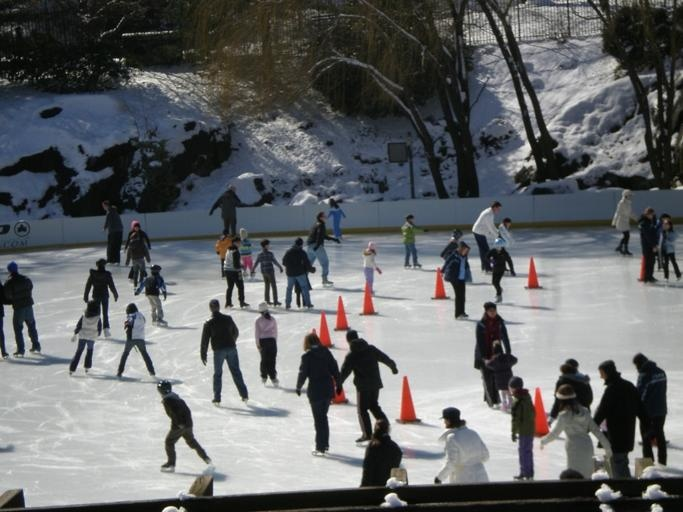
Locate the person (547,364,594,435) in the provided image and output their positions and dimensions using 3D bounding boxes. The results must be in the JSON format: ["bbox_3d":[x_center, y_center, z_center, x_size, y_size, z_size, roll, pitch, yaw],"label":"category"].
[{"bbox_3d":[6.336,3.896,36.476,0.885,1.764,1.021,-11,9,-12],"label":"person"}]

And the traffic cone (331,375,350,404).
[{"bbox_3d":[-0.040,3.845,38.522,0.654,0.913,0.683,2,31,6],"label":"traffic cone"}]

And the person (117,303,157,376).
[{"bbox_3d":[-6.218,2.329,40.629,0.979,2.466,0.807,-5,8,-43],"label":"person"}]

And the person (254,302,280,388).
[{"bbox_3d":[-2.239,2.622,40.195,0.691,2.561,0.567,-3,5,-12],"label":"person"}]

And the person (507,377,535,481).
[{"bbox_3d":[4.922,4.717,36.514,0.699,2.798,0.964,0,2,27],"label":"person"}]

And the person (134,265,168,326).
[{"bbox_3d":[-6.151,1.188,43.760,0.938,2.298,0.866,7,11,11],"label":"person"}]

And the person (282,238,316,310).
[{"bbox_3d":[-1.401,0.451,44.533,0.967,2.410,0.854,13,15,36],"label":"person"}]

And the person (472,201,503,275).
[{"bbox_3d":[5.102,-0.750,46.227,0.918,2.398,1.128,-15,21,-41],"label":"person"}]

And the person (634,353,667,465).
[{"bbox_3d":[8.470,4.197,36.934,0.902,3.076,0.991,-5,4,-29],"label":"person"}]

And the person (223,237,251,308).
[{"bbox_3d":[-3.616,0.538,45.050,0.828,2.277,0.881,1,3,31],"label":"person"}]

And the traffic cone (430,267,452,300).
[{"bbox_3d":[3.300,0.928,45.735,0.808,1.218,0.781,-7,6,-27],"label":"traffic cone"}]

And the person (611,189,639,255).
[{"bbox_3d":[10.233,-1.286,48.277,0.609,2.185,0.739,-8,13,-39],"label":"person"}]

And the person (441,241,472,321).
[{"bbox_3d":[3.669,0.676,42.874,0.838,2.536,0.717,5,11,25],"label":"person"}]

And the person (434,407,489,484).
[{"bbox_3d":[3.179,4.989,35.328,1.288,1.947,0.495,-2,5,2],"label":"person"}]

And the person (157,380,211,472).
[{"bbox_3d":[-4.454,4.686,37.367,1.215,2.514,0.801,-3,5,-10],"label":"person"}]

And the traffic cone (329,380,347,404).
[{"bbox_3d":[-0.062,4.117,39.156,0.387,0.640,0.597,0,4,-3],"label":"traffic cone"}]

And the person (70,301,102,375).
[{"bbox_3d":[-7.971,2.374,41.258,0.891,2.378,0.756,-3,7,-28],"label":"person"}]

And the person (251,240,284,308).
[{"bbox_3d":[-2.482,0.444,45.200,0.950,2.389,0.873,-4,10,-18],"label":"person"}]

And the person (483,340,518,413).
[{"bbox_3d":[4.548,3.389,38.155,0.886,1.997,0.797,-2,8,-2],"label":"person"}]

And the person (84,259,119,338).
[{"bbox_3d":[-7.745,1.482,43.118,0.861,2.779,1.129,0,2,6],"label":"person"}]

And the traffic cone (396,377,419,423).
[{"bbox_3d":[1.925,4.050,38.554,0.613,1.401,1.120,-2,5,2],"label":"traffic cone"}]

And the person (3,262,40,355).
[{"bbox_3d":[-10.134,1.628,42.555,1.047,2.960,0.957,-3,5,-15],"label":"person"}]

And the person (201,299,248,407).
[{"bbox_3d":[-3.480,2.813,39.552,1.294,3.099,1.035,-2,5,-5],"label":"person"}]
